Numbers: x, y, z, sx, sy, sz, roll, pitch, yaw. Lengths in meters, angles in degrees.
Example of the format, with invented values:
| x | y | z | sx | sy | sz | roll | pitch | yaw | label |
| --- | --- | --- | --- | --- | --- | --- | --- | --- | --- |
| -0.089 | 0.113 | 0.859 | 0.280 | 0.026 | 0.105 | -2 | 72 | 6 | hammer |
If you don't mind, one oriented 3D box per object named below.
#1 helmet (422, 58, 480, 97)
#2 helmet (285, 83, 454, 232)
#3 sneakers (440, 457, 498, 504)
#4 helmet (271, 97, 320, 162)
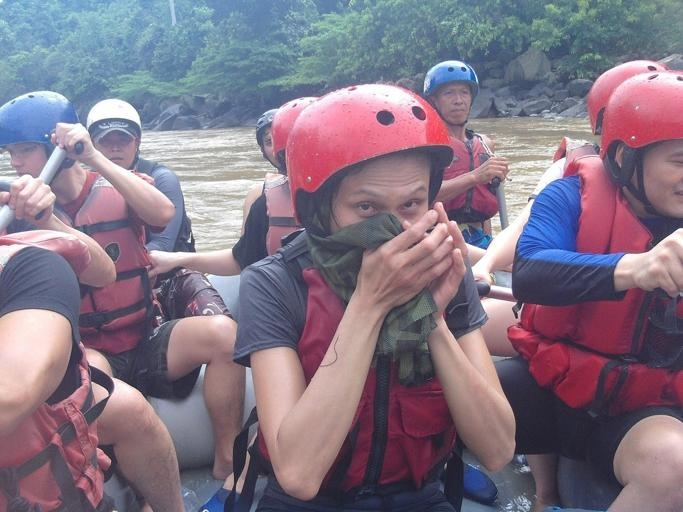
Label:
| x | y | z | sx | sy | sz | roll | pitch | yaw | label |
| --- | --- | --- | --- | --- | --- | --- | --- | --- | --- |
| 0.928 | -1.599 | 5.748 | 0.322 | 0.370 | 0.442 | 0 | -11 | -9 | helmet |
| 0.066 | -0.361 | 2.463 | 0.442 | 0.461 | 0.552 | -5 | 4 | -43 | helmet |
| 0.626 | 1.085 | 3.133 | 0.176 | 0.081 | 0.317 | 1 | 22 | -16 | sneakers |
| -0.307 | -0.781 | 3.820 | 0.301 | 0.412 | 0.367 | 4 | 13 | -3 | helmet |
